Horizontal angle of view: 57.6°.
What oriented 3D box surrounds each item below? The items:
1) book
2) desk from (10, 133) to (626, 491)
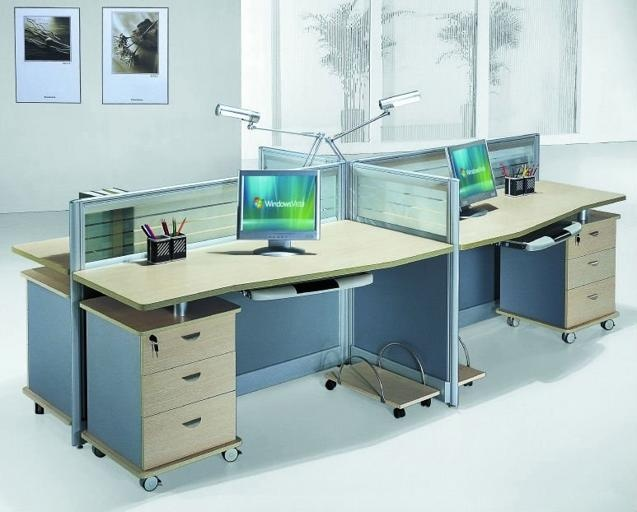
[{"bbox_3d":[-0.921,-0.096,2.564,0.032,0.217,0.247,7,16,40],"label":"book"},{"bbox_3d":[0.159,0.108,3.184,3.239,1.144,1.148,-12,15,-31],"label":"desk"}]
